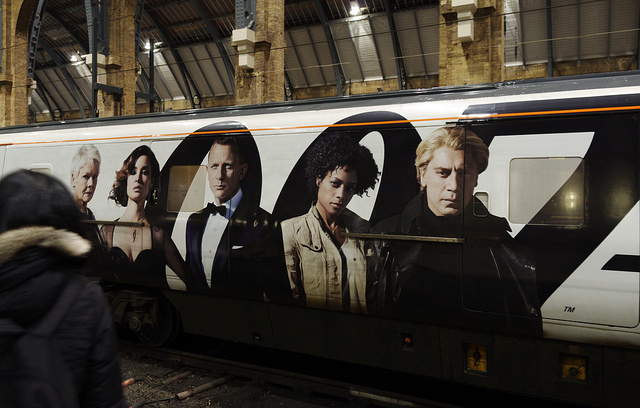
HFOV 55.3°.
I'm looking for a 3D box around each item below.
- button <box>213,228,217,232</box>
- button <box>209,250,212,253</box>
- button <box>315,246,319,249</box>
[{"bbox_3d":[-1.612,0.390,9.363,0.049,0.054,0.013,2,-4,5],"label":"button"},{"bbox_3d":[-1.686,0.725,9.387,0.034,0.036,0.009,-2,-5,2],"label":"button"},{"bbox_3d":[-0.050,0.620,8.827,0.057,0.030,0.009,3,8,8],"label":"button"}]
